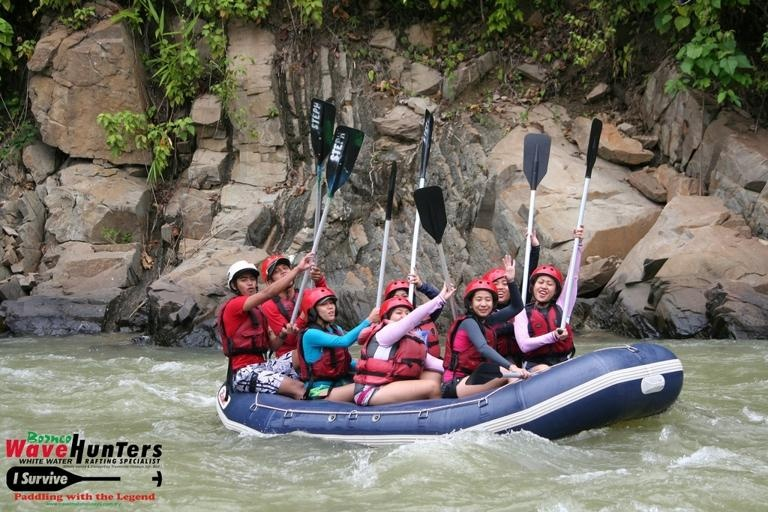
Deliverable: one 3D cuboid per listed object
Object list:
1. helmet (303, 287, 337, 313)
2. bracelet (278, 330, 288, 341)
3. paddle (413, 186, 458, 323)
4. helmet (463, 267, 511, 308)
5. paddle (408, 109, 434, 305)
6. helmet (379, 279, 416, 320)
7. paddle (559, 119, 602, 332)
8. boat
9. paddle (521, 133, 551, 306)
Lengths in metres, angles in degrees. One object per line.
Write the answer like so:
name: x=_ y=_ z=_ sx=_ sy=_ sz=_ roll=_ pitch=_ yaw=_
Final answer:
helmet: x=-0.799 y=0.520 z=9.922 sx=0.357 sy=0.288 sz=0.295 roll=-24 pitch=-44 yaw=34
bracelet: x=-1.266 y=0.979 z=10.040 sx=0.113 sy=0.130 sz=0.090 roll=8 pitch=0 yaw=-21
paddle: x=0.756 y=0.138 z=10.676 sx=0.361 sy=2.286 sz=0.094 roll=-7 pitch=29 yaw=13
helmet: x=1.260 y=0.338 z=9.929 sx=0.388 sy=0.424 sz=0.562 roll=16 pitch=-28 yaw=-15
paddle: x=0.584 y=-0.682 z=13.153 sx=0.269 sy=3.705 sz=0.228 roll=8 pitch=-5 yaw=-41
helmet: x=0.155 y=0.487 z=10.122 sx=0.335 sy=0.438 sz=0.458 roll=2 pitch=-25 yaw=-12
paddle: x=3.253 y=-0.369 z=13.418 sx=0.321 sy=4.092 sz=0.211 roll=15 pitch=-16 yaw=2
boat: x=1.052 y=1.780 z=9.441 sx=3.695 sy=0.706 sz=1.987 roll=-9 pitch=-13 yaw=14
paddle: x=2.080 y=-0.528 z=11.501 sx=0.391 sy=2.395 sz=0.086 roll=8 pitch=15 yaw=24
